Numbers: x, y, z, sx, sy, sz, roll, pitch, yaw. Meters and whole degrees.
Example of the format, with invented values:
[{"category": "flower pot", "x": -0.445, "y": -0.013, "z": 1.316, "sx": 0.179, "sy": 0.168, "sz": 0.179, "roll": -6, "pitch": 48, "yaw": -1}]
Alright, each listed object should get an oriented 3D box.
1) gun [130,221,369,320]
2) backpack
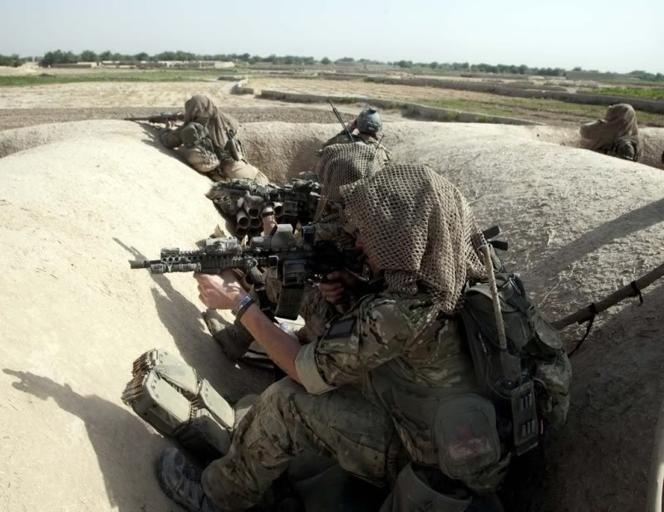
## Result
[{"category": "gun", "x": -0.668, "y": 0.135, "z": 4.512, "sx": 1.744, "sy": 0.723, "sz": 0.260, "roll": -1, "pitch": 1, "yaw": -13}, {"category": "backpack", "x": 1.416, "y": 0.484, "z": 4.229, "sx": 0.840, "sy": 0.492, "sz": 0.730, "roll": 53, "pitch": 12, "yaw": 21}]
